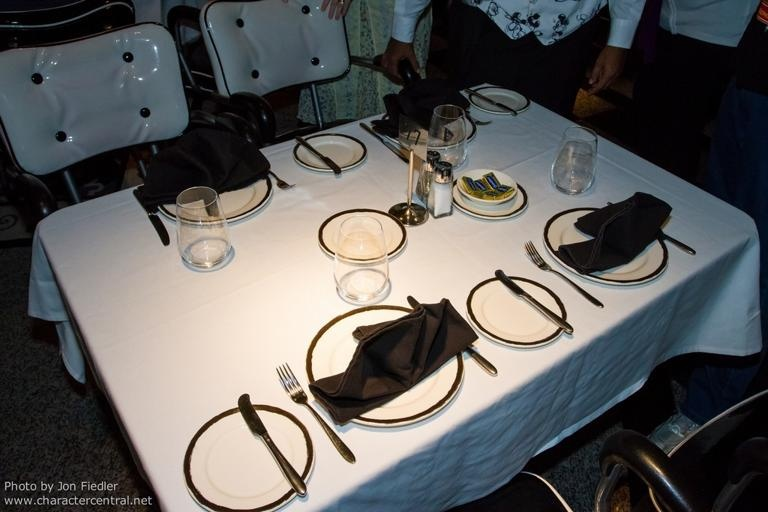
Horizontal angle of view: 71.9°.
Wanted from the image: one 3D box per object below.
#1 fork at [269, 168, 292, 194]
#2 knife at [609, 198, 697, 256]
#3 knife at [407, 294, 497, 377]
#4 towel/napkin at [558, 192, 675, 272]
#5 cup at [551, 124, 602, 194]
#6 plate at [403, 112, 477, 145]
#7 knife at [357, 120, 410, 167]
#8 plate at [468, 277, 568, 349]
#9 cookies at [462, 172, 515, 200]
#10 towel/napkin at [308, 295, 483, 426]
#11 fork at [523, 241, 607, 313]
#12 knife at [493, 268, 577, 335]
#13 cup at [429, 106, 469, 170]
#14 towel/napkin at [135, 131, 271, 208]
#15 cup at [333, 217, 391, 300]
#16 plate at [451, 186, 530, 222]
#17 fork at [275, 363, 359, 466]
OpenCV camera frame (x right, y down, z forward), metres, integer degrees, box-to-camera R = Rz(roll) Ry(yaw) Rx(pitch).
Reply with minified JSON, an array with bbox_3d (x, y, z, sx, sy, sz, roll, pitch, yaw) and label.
[{"bbox_3d":[-0.375,-0.276,1.880,0.032,0.033,0.179,-25,45,-18],"label":"fork"},{"bbox_3d":[0.866,-0.089,1.654,0.037,0.020,0.214,-37,73,-21],"label":"knife"},{"bbox_3d":[0.179,0.221,1.398,0.267,0.015,0.030,45,82,3],"label":"knife"},{"bbox_3d":[0.699,-0.068,1.607,0.327,0.063,0.210,-31,46,-19],"label":"towel/napkin"},{"bbox_3d":[0.665,-0.327,1.850,0.156,0.235,0.160,-2,29,1],"label":"cup"},{"bbox_3d":[0.221,-0.504,2.058,0.196,0.081,0.214,3,12,11],"label":"plate"},{"bbox_3d":[-0.017,-0.427,2.041,0.288,0.033,0.086,39,51,15],"label":"knife"},{"bbox_3d":[0.360,0.158,1.493,0.276,0.031,0.289,17,40,15],"label":"plate"},{"bbox_3d":[0.338,-0.229,1.776,0.107,0.043,0.111,-12,37,-21],"label":"cookies"},{"bbox_3d":[0.034,0.284,1.344,0.375,0.128,0.266,-30,42,-16],"label":"towel/napkin"},{"bbox_3d":[0.532,0.073,1.548,0.037,0.040,0.256,-26,60,-36],"label":"fork"},{"bbox_3d":[0.423,0.139,1.499,0.037,0.014,0.249,-34,59,-22],"label":"knife"},{"bbox_3d":[0.209,-0.416,1.846,0.158,0.213,0.209,-2,32,1],"label":"cup"},{"bbox_3d":[-0.610,-0.287,1.791,0.318,0.100,0.314,-34,68,-24],"label":"towel/napkin"},{"bbox_3d":[-0.063,0.019,1.478,0.158,0.200,0.149,-2,47,2],"label":"cup"},{"bbox_3d":[0.349,-0.207,1.811,0.201,0.030,0.201,-4,15,46],"label":"plate"},{"bbox_3d":[-0.159,0.402,1.300,0.036,0.033,0.271,-26,65,-30],"label":"fork"}]
